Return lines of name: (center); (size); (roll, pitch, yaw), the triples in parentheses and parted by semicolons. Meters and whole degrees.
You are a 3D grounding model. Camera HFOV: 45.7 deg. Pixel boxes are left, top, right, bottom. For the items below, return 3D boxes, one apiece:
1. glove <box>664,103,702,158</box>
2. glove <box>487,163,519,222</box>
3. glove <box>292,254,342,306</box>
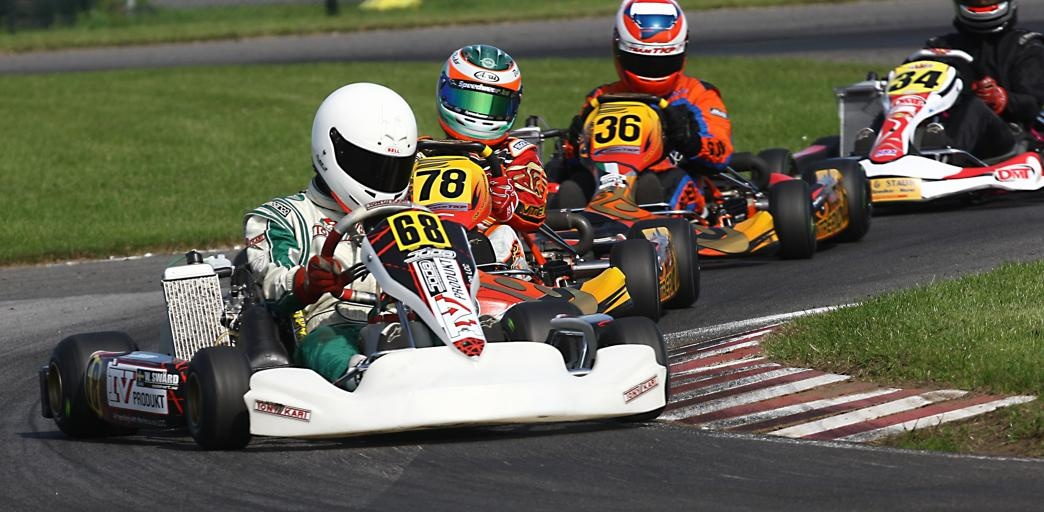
glove: (1.855, -1.393, 14.105); (0.470, 0.568, 0.243); (4, -19, -39)
glove: (-0.171, -0.621, 11.944); (0.410, 0.493, 0.200); (-3, 1, -5)
glove: (-1.719, 0.209, 10.377); (0.464, 0.482, 0.162); (11, 20, 29)
